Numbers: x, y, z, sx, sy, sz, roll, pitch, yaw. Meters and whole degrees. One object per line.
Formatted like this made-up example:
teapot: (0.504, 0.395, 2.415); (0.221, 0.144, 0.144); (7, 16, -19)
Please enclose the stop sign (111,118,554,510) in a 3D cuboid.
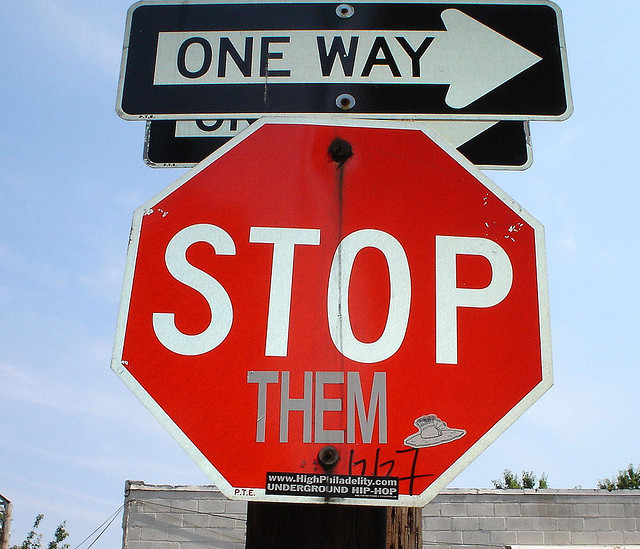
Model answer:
stop sign: (0.032, 0.086, 2.572); (0.882, 0.880, 0.042); (1, -23, -4)
